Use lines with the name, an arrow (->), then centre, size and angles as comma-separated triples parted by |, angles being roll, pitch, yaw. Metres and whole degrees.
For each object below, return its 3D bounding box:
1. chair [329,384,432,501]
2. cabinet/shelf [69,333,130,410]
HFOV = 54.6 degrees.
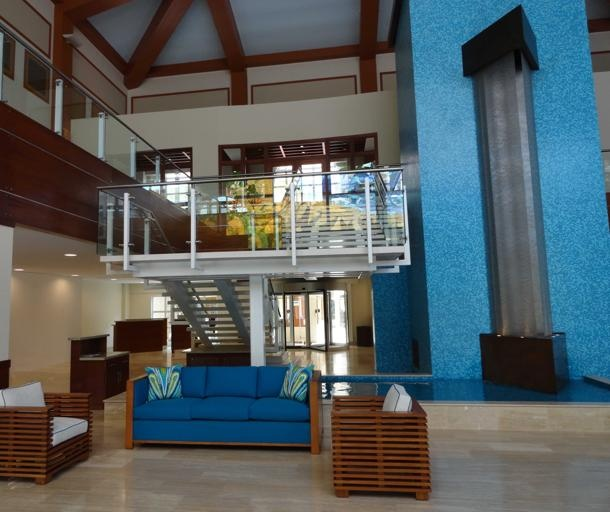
chair -> 0.882, 2.122, 6.884 | 1.007, 0.813, 1.074 | -1, -1, 3
cabinet/shelf -> -3.547, 1.988, 10.149 | 0.783, 1.416, 1.492 | -2, -3, -2
